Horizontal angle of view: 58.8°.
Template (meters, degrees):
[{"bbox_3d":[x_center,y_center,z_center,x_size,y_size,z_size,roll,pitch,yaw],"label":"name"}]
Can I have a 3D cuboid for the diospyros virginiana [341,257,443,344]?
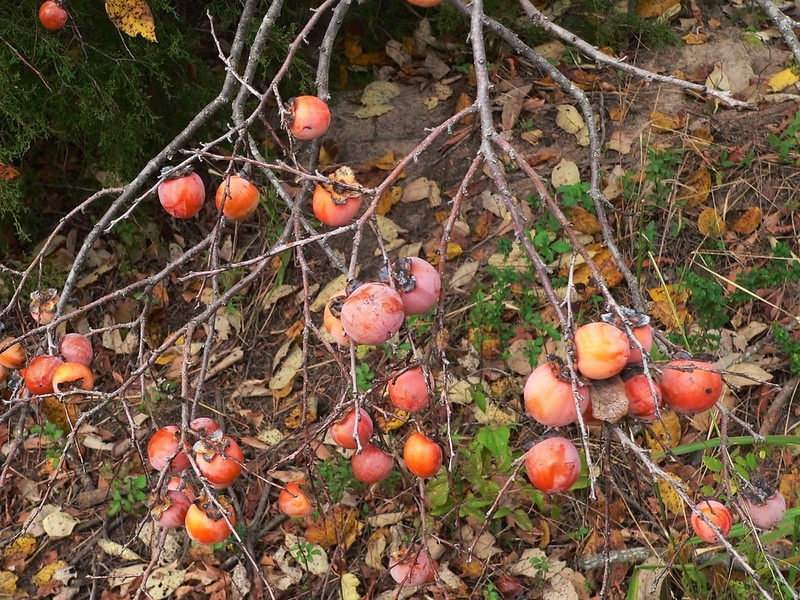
[{"bbox_3d":[-0.025,0.014,2.532,0.213,0.232,0.402,22,40,30],"label":"diospyros virginiana"}]

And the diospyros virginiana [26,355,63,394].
[{"bbox_3d":[-1.477,0.335,3.001,0.140,0.145,0.187,8,65,-29],"label":"diospyros virginiana"}]

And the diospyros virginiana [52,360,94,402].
[{"bbox_3d":[-1.358,0.349,2.977,0.124,0.135,0.143,27,91,17],"label":"diospyros virginiana"}]

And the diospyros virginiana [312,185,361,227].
[{"bbox_3d":[-0.250,-0.418,2.828,0.159,0.183,0.170,-9,81,-3],"label":"diospyros virginiana"}]

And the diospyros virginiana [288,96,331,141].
[{"bbox_3d":[-0.365,-0.743,2.927,0.155,0.178,0.175,-9,37,3],"label":"diospyros virginiana"}]
